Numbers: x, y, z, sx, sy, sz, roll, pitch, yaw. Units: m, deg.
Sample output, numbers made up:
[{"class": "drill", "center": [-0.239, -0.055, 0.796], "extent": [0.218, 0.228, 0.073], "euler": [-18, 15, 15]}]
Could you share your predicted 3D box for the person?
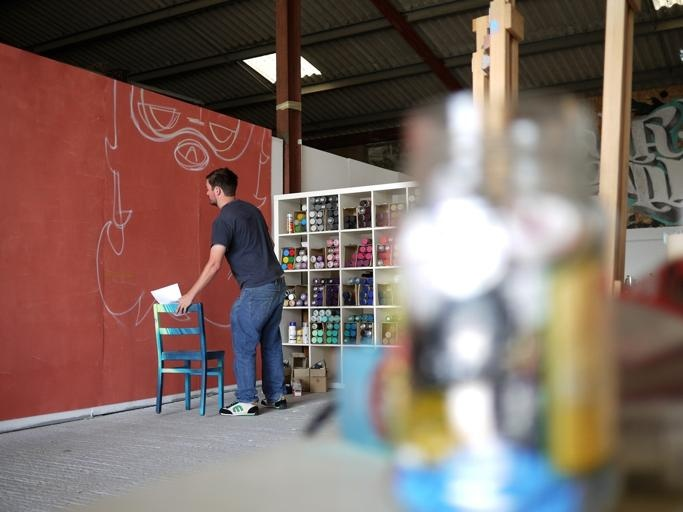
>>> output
[{"class": "person", "center": [-0.583, 0.302, 3.992], "extent": [0.384, 1.276, 0.708], "euler": [-12, -13, 28]}]

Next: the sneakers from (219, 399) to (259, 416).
[{"class": "sneakers", "center": [-0.596, 0.897, 3.889], "extent": [0.220, 0.105, 0.085], "euler": [3, -4, 12]}]

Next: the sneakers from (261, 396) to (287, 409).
[{"class": "sneakers", "center": [-0.428, 0.903, 4.214], "extent": [0.189, 0.094, 0.068], "euler": [5, 2, 35]}]

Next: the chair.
[{"class": "chair", "center": [-0.932, 0.638, 4.151], "extent": [0.315, 0.702, 0.351], "euler": [-3, -3, 21]}]

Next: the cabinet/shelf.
[{"class": "cabinet/shelf", "center": [-0.107, 0.665, 5.893], "extent": [0.398, 1.730, 1.199], "euler": [-14, -15, 20]}]
